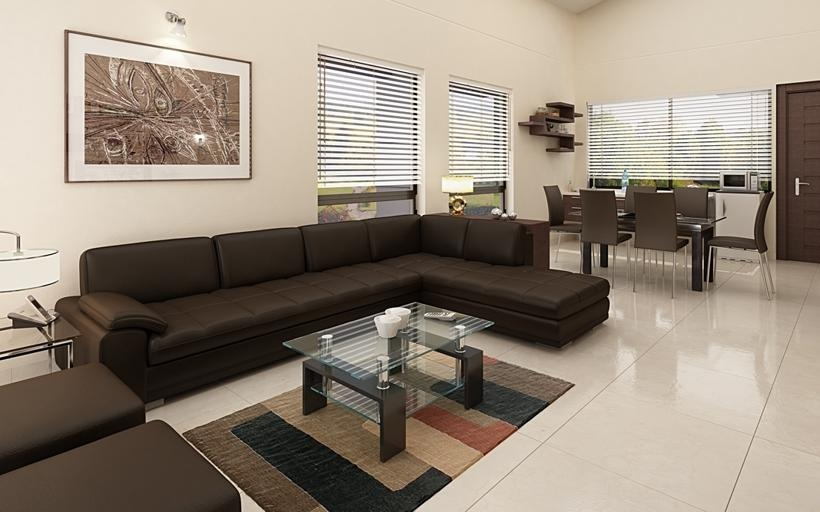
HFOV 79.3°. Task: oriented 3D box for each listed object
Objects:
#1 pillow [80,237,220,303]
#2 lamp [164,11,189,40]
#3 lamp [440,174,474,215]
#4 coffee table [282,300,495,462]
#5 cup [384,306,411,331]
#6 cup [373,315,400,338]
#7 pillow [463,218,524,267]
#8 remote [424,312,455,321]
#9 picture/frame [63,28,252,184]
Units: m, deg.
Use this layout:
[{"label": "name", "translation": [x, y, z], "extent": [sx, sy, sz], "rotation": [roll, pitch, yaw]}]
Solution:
[{"label": "pillow", "translation": [-2.429, 0.146, 4.719], "extent": [1.114, 0.528, 0.240], "rotation": [-10, 15, -36]}, {"label": "lamp", "translation": [-2.299, -2.258, 4.886], "extent": [0.271, 0.240, 0.231], "rotation": [-1, 15, -34]}, {"label": "lamp", "translation": [0.629, -0.876, 7.064], "extent": [0.623, 0.651, 0.594], "rotation": [-1, 8, -10]}, {"label": "coffee table", "translation": [-0.146, 0.972, 4.246], "extent": [1.542, 0.704, 1.038], "rotation": [-11, 16, -42]}, {"label": "cup", "translation": [-0.077, 0.520, 4.205], "extent": [0.192, 0.110, 0.190], "rotation": [0, -2, 0]}, {"label": "cup", "translation": [-0.187, 0.566, 4.043], "extent": [0.195, 0.110, 0.188], "rotation": [0, 0, 0]}, {"label": "pillow", "translation": [1.022, -0.144, 5.977], "extent": [0.558, 0.386, 0.210], "rotation": [7, -2, 40]}, {"label": "remote", "translation": [0.273, 0.526, 4.387], "extent": [0.192, 0.035, 0.103], "rotation": [3, 5, 27]}, {"label": "picture/frame", "translation": [-2.558, -1.483, 4.890], "extent": [1.875, 1.251, 0.066], "rotation": [-3, 5, -43]}]
